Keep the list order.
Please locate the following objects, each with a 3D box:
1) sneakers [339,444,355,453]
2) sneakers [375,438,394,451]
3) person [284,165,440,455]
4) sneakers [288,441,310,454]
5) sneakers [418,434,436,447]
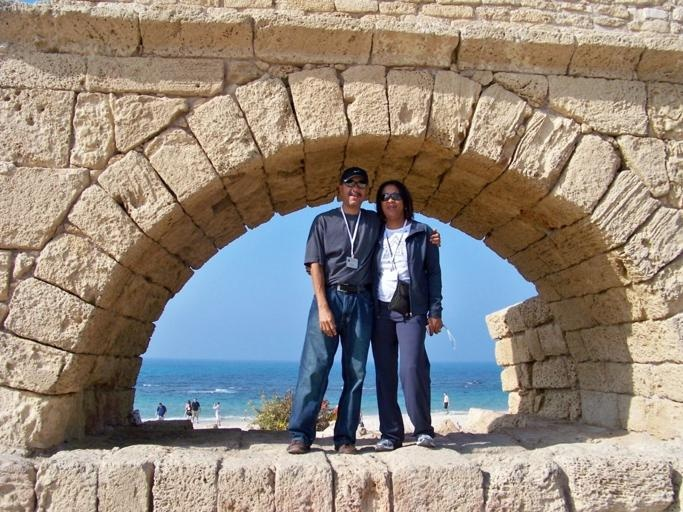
[{"bbox_3d":[0.037,1.509,4.415,0.143,0.063,0.122,-1,-7,5],"label":"sneakers"},{"bbox_3d":[0.348,1.516,4.522,0.109,0.089,0.216,2,-7,1],"label":"sneakers"},{"bbox_3d":[-0.046,0.405,4.590,0.781,2.305,0.330,0,-6,-4],"label":"person"},{"bbox_3d":[-0.323,1.467,4.334,0.184,0.092,0.132,2,-8,-18],"label":"sneakers"},{"bbox_3d":[0.677,1.470,4.480,0.142,0.095,0.135,-2,-7,10],"label":"sneakers"}]
